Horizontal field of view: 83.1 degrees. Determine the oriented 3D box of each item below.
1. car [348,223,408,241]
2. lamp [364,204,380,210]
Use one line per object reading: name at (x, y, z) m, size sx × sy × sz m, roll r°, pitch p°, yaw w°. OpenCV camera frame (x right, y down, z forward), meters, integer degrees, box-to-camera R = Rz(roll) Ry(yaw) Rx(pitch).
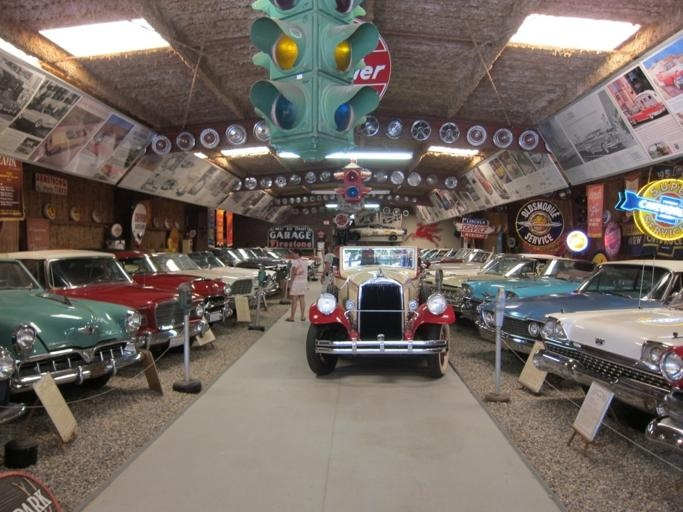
car at (2.674, -1.594, 27.266) m, size 3.585 × 0.917 × 1.512 m, roll 1°, pitch 4°, yaw -1°
lamp at (2.047, -3.313, 25.870) m, size 0.602 × 0.128 × 0.559 m, roll -2°, pitch -4°, yaw 45°
